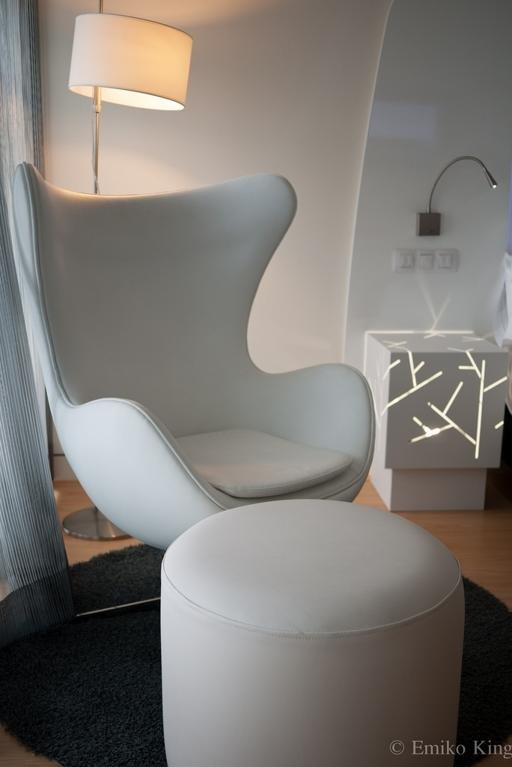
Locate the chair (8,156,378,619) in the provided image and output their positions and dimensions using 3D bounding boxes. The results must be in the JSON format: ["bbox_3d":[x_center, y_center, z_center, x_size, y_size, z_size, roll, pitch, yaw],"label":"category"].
[{"bbox_3d":[-0.136,-0.025,1.524,0.767,0.944,0.778,13,17,42],"label":"chair"}]
